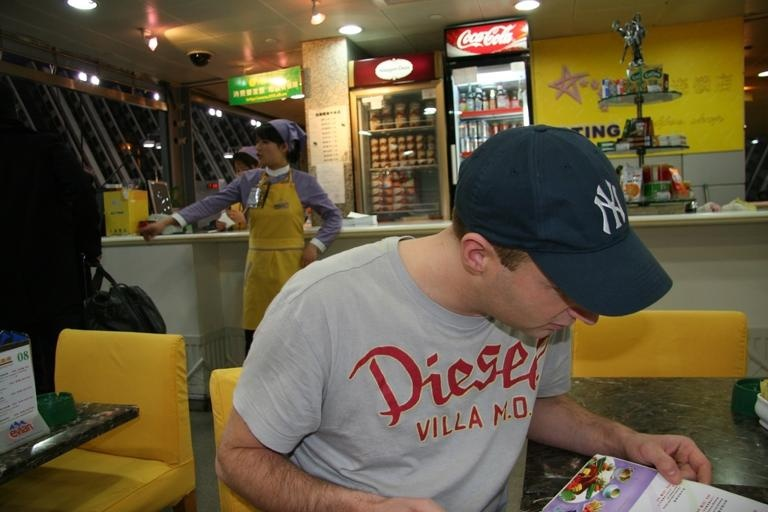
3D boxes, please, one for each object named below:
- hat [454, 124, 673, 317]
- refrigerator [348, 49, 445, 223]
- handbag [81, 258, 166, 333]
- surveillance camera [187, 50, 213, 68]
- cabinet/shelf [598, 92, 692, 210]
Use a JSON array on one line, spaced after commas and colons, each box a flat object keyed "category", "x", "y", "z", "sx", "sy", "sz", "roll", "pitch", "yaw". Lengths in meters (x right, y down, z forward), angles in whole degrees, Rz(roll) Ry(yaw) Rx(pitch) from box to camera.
[{"category": "hat", "x": 0.469, "y": -0.101, "z": 1.598, "sx": 0.601, "sy": 0.321, "sz": 0.391, "roll": 34, "pitch": 50, "yaw": 26}, {"category": "refrigerator", "x": 0.242, "y": -1.681, "z": 6.940, "sx": 1.171, "sy": 2.280, "sz": 1.147, "roll": -2, "pitch": 46, "yaw": 4}, {"category": "handbag", "x": -1.463, "y": 0.269, "z": 3.221, "sx": 0.379, "sy": 0.381, "sz": 0.228, "roll": -12, "pitch": 12, "yaw": -34}, {"category": "surveillance camera", "x": -2.105, "y": -2.270, "z": 6.598, "sx": 0.180, "sy": 0.088, "sz": 0.170, "roll": -4, "pitch": -4, "yaw": -11}, {"category": "cabinet/shelf", "x": 1.966, "y": -0.897, "z": 4.358, "sx": 0.496, "sy": 0.820, "sz": 0.498, "roll": -1, "pitch": 19, "yaw": 26}]
